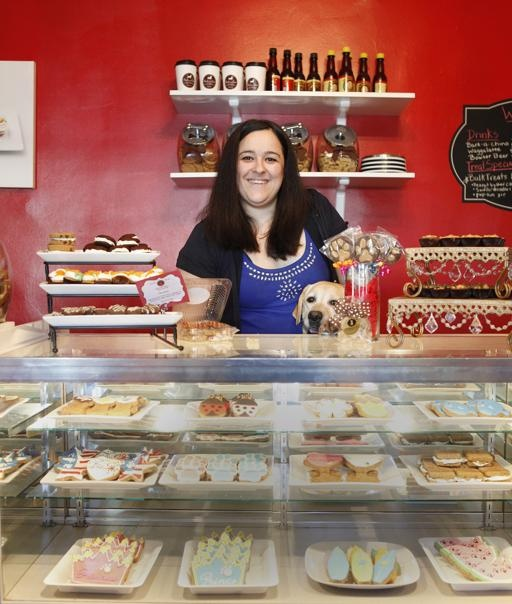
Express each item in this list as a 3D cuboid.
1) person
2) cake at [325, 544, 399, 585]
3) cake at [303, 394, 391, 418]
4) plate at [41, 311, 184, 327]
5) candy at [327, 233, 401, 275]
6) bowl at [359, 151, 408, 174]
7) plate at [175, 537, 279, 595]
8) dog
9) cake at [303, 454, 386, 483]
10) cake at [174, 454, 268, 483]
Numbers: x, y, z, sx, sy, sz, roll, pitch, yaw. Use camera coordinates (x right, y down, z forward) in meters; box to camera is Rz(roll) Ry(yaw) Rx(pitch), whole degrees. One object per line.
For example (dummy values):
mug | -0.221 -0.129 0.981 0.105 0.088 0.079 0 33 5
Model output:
person | 0.026 -0.287 2.013 0.680 0.799 0.346 0 10 1
cake | 0.243 0.587 1.185 0.081 0.030 0.093 0 14 -6
cake | 0.208 0.237 1.149 0.140 0.034 0.075 0 6 -2
plate | -0.317 0.040 1.153 0.175 0.019 0.097 -1 3 -5
candy | 0.263 -0.116 1.254 0.153 0.040 0.100 -3 37 -10
bowl | 0.667 -0.737 2.724 0.218 0.116 0.185 -8 12 -39
plate | -0.061 0.603 1.195 0.221 0.038 0.194 0 9 -1
dog | 0.197 0.047 1.547 0.196 0.213 0.232 12 9 7
cake | 0.206 0.396 1.232 0.142 0.021 0.085 0 12 0
cake | -0.081 0.392 1.211 0.158 0.022 0.090 1 5 -2
